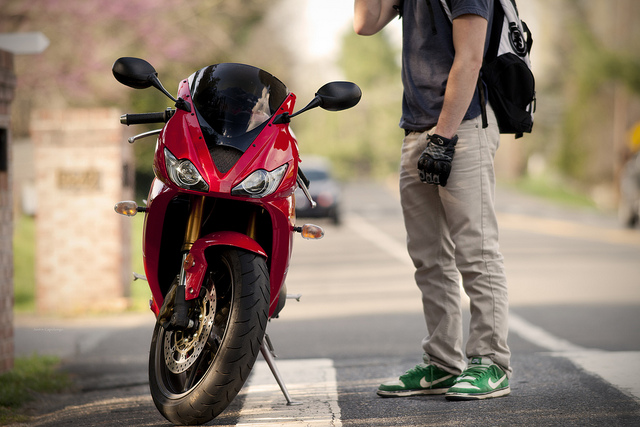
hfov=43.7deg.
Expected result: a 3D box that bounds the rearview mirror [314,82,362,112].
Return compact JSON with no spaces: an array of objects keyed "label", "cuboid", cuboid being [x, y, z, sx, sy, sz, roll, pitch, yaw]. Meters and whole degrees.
[{"label":"rearview mirror","cuboid":[0.136,-0.873,5.959,0.346,0.203,0.189,-1,10,-1]}]

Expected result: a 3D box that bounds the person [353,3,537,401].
[{"label":"person","cuboid":[1.040,-0.072,6.281,1.225,3.136,1.128,2,9,16]}]

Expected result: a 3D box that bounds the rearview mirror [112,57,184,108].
[{"label":"rearview mirror","cuboid":[-1.323,-1.007,5.860,0.400,0.267,0.142,1,9,10]}]

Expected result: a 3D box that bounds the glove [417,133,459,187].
[{"label":"glove","cuboid":[0.897,-0.409,6.028,0.297,0.379,0.179,1,9,9]}]

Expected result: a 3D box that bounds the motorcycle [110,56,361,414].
[{"label":"motorcycle","cuboid":[-0.689,0.227,5.776,1.335,2.606,1.025,1,9,9]}]
